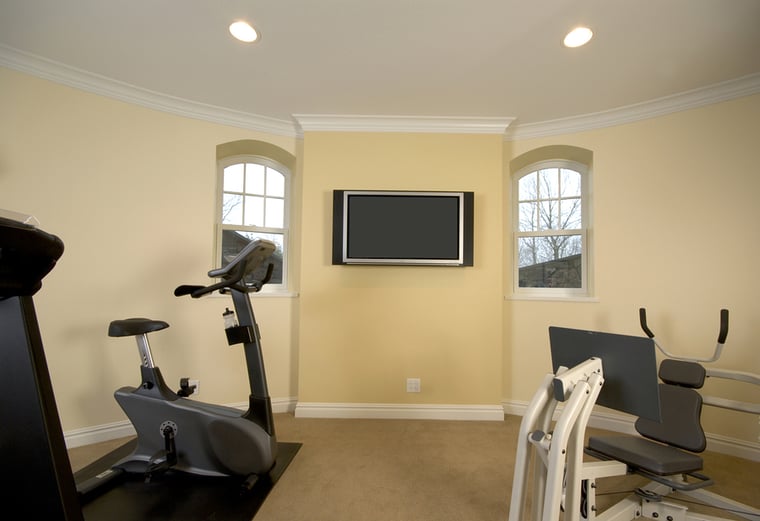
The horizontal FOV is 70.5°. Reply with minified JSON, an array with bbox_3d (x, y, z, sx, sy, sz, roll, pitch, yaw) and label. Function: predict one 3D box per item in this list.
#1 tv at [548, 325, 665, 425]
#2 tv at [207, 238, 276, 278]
[{"bbox_3d":[1.336,0.719,3.431,0.773,0.561,0.029,7,8,-15],"label":"tv"},{"bbox_3d":[-1.039,-0.014,4.083,0.306,0.324,0.438,9,14,35],"label":"tv"}]
